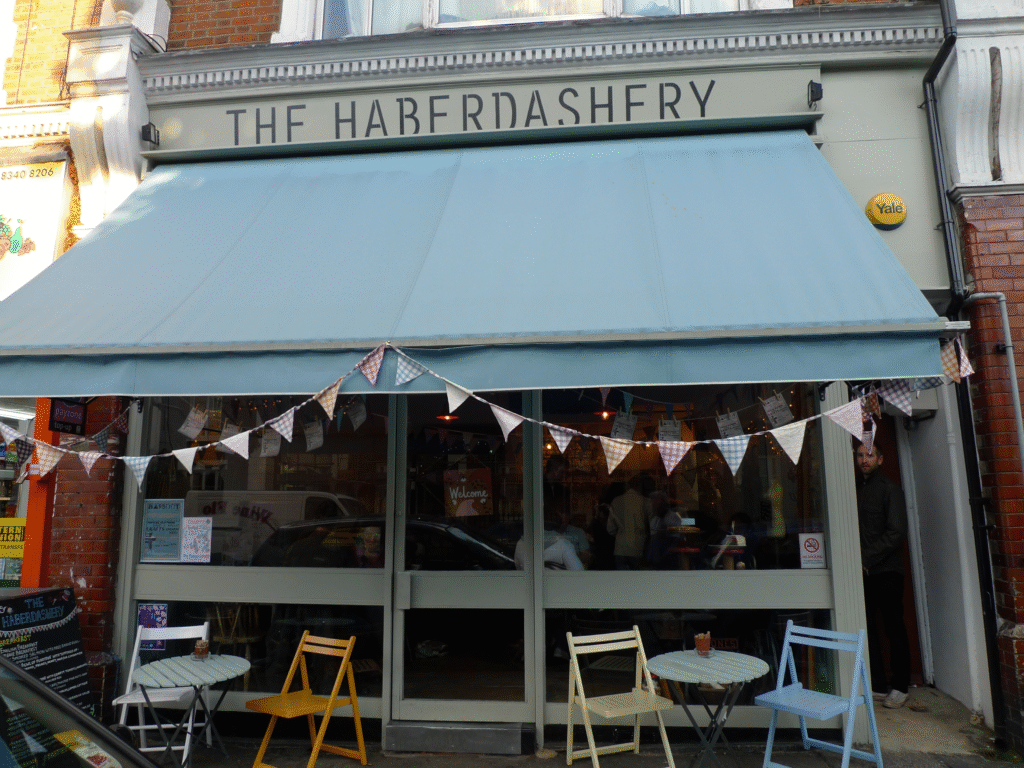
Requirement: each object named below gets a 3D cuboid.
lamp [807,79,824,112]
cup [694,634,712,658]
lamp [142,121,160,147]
[{"bbox_3d":[2.894,-2.783,9.923,0.195,0.329,0.320,-1,-3,14],"label":"lamp"},{"bbox_3d":[1.645,2.247,8.923,0.143,0.179,0.169,3,-16,-1],"label":"cup"},{"bbox_3d":[-3.649,-2.517,10.477,0.186,0.359,0.267,-3,7,-18],"label":"lamp"}]
